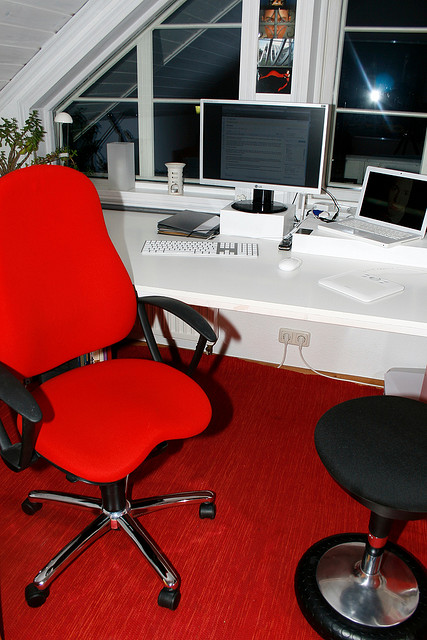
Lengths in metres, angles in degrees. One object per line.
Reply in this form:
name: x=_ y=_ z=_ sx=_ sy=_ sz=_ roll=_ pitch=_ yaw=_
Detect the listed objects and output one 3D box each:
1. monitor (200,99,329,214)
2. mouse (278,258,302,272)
monitor: x=0.195 y=-0.645 z=1.807 sx=0.500 sy=0.396 sz=0.202 roll=9 pitch=29 yaw=15
mouse: x=0.251 y=-0.186 z=1.496 sx=0.052 sy=0.032 sz=0.088 roll=17 pitch=27 yaw=33
